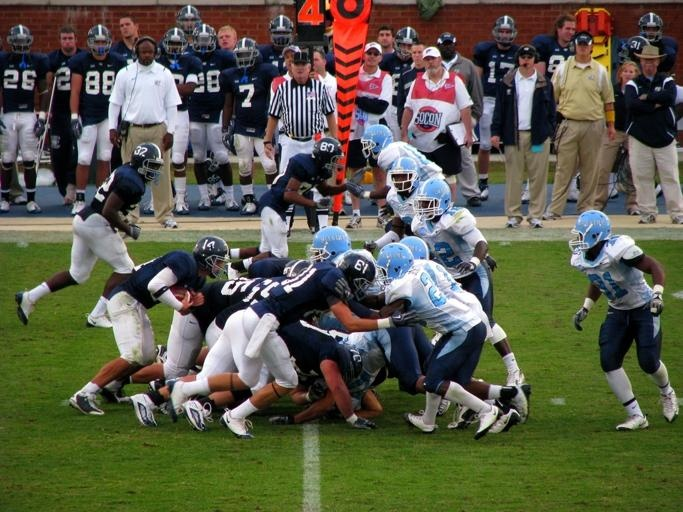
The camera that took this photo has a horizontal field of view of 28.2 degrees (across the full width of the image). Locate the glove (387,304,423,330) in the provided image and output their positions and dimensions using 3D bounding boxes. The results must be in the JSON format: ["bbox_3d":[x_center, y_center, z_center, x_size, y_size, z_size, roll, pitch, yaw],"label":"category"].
[{"bbox_3d":[0.517,0.543,10.820,0.259,0.185,0.350,1,5,5],"label":"glove"}]

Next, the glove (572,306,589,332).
[{"bbox_3d":[2.137,0.611,12.087,0.110,0.241,0.199,20,-12,-3],"label":"glove"}]

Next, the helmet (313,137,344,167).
[{"bbox_3d":[-0.097,-0.994,13.067,0.302,0.230,0.246,6,-32,-26],"label":"helmet"}]

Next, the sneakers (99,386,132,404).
[{"bbox_3d":[-1.924,1.221,11.436,0.207,0.131,0.070,24,14,-22],"label":"sneakers"}]

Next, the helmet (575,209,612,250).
[{"bbox_3d":[2.043,-0.194,11.147,0.370,0.328,0.306,-5,8,17],"label":"helmet"}]

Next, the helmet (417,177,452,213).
[{"bbox_3d":[0.813,-0.485,11.655,0.273,0.296,0.346,5,17,43],"label":"helmet"}]

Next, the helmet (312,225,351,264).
[{"bbox_3d":[-0.099,-0.076,11.720,0.423,0.336,0.296,-9,12,-8],"label":"helmet"}]

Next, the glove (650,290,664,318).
[{"bbox_3d":[2.509,0.402,10.767,0.074,0.276,0.110,2,-14,15],"label":"glove"}]

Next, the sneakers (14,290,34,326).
[{"bbox_3d":[-2.989,0.514,12.756,0.175,0.371,0.131,-5,9,2],"label":"sneakers"}]

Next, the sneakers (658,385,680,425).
[{"bbox_3d":[2.683,1.269,11.106,0.113,0.344,0.146,-11,-30,30],"label":"sneakers"}]

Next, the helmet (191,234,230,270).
[{"bbox_3d":[-1.101,-0.002,11.394,0.335,0.299,0.267,11,4,11],"label":"helmet"}]

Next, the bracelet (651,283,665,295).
[{"bbox_3d":[2.540,0.297,10.825,0.090,0.092,0.077,4,-1,-20],"label":"bracelet"}]

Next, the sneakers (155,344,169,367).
[{"bbox_3d":[-1.567,0.898,11.754,0.084,0.113,0.247,8,7,-16],"label":"sneakers"}]

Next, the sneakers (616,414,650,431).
[{"bbox_3d":[2.374,1.402,11.025,0.285,0.118,0.106,-3,12,-11],"label":"sneakers"}]

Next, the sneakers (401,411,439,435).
[{"bbox_3d":[0.634,1.403,11.071,0.319,0.149,0.116,24,19,19],"label":"sneakers"}]

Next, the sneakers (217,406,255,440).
[{"bbox_3d":[-0.833,1.388,10.916,0.269,0.216,0.206,-1,6,-19],"label":"sneakers"}]

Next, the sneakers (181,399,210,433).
[{"bbox_3d":[-1.176,1.317,10.987,0.157,0.344,0.127,-29,8,-3],"label":"sneakers"}]

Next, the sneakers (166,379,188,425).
[{"bbox_3d":[-1.355,1.217,10.917,0.144,0.338,0.112,-17,13,-41],"label":"sneakers"}]

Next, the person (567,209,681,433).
[{"bbox_3d":[2.294,0.567,10.971,0.899,1.770,0.442,2,5,9],"label":"person"}]

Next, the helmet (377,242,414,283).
[{"bbox_3d":[0.476,0.113,11.274,0.357,0.326,0.275,-13,-10,27],"label":"helmet"}]

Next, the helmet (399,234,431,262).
[{"bbox_3d":[0.620,-0.034,11.446,0.187,0.231,0.164,-30,7,-5],"label":"helmet"}]

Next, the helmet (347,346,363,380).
[{"bbox_3d":[0.121,0.899,10.965,0.149,0.206,0.199,-7,14,24],"label":"helmet"}]

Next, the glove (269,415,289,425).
[{"bbox_3d":[-0.517,1.395,11.146,0.120,0.048,0.075,-1,0,24],"label":"glove"}]

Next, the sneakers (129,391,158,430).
[{"bbox_3d":[-1.589,1.243,11.019,0.215,0.463,0.146,2,48,10],"label":"sneakers"}]

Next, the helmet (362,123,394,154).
[{"bbox_3d":[0.339,-1.143,13.529,0.351,0.288,0.273,-4,16,-6],"label":"helmet"}]

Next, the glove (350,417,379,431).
[{"bbox_3d":[0.189,1.411,11.030,0.241,0.114,0.086,-2,10,4],"label":"glove"}]

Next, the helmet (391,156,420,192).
[{"bbox_3d":[0.562,-0.715,12.150,0.250,0.297,0.345,-4,-14,8],"label":"helmet"}]
